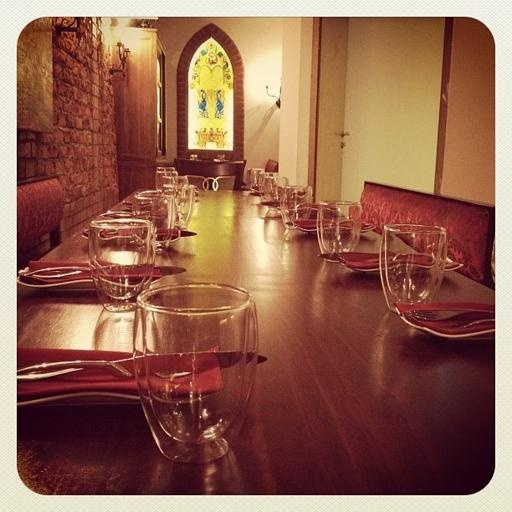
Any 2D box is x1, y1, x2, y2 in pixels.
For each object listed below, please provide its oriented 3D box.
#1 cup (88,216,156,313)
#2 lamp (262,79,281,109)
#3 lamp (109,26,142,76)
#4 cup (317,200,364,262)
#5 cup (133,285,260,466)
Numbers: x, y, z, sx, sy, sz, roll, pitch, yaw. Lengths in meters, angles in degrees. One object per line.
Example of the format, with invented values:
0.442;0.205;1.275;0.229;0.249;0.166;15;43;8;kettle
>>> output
-0.221;0.002;0.807;0.114;0.192;0.144;3;13;11;cup
0.374;-3.211;8.476;0.202;0.504;0.435;-5;11;-35;lamp
-2.011;-3.103;6.305;0.429;0.744;0.531;3;9;13;lamp
0.242;-0.068;1.282;0.135;0.219;0.154;0;4;-15;cup
-0.051;0.099;0.417;0.106;0.167;0.121;1;2;-7;cup
